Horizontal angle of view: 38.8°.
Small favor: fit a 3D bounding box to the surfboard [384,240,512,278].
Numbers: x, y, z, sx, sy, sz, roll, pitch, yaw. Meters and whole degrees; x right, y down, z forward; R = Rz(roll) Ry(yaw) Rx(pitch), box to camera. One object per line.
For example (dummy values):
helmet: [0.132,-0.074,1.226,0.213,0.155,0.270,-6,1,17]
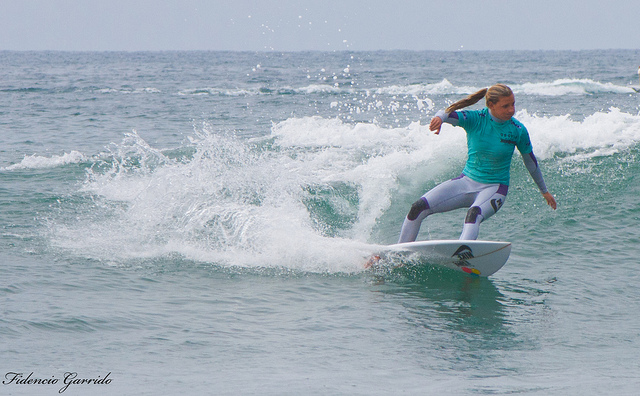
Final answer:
surfboard: [2.653,1.247,18.749,3.333,0.787,0.838,0,0,7]
